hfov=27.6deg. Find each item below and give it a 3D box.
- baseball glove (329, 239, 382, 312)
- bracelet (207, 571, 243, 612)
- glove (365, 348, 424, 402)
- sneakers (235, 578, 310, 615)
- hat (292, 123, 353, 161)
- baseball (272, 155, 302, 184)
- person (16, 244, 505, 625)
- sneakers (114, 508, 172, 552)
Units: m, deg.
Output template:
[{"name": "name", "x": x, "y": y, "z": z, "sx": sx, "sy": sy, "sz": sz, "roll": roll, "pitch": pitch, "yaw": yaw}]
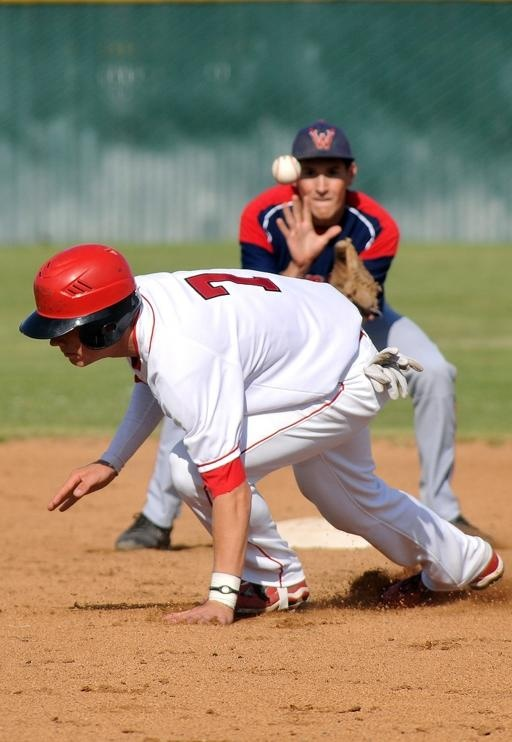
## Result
[{"name": "baseball glove", "x": 0.362, "y": -0.355, "z": 3.877, "sx": 0.115, "sy": 0.170, "sz": 0.276, "roll": -20, "pitch": 53, "yaw": -35}, {"name": "bracelet", "x": -0.088, "y": 0.585, "z": 2.807, "sx": 0.088, "sy": 0.111, "sz": 0.039, "roll": 17, "pitch": 49, "yaw": -5}, {"name": "glove", "x": 0.414, "y": 0.037, "z": 3.104, "sx": 0.170, "sy": 0.083, "sz": 0.158, "roll": 35, "pitch": 44, "yaw": -17}, {"name": "sneakers", "x": 0.044, "y": 0.678, "z": 3.211, "sx": 0.239, "sy": 0.101, "sz": 0.082, "roll": -5, "pitch": 6, "yaw": -33}, {"name": "hat", "x": 0.253, "y": -0.874, "z": 3.961, "sx": 0.224, "sy": 0.164, "sz": 0.261, "roll": -1, "pitch": 8, "yaw": -11}, {"name": "baseball", "x": 0.125, "y": -0.767, "z": 3.990, "sx": 0.125, "sy": 0.109, "sz": 0.066, "roll": 4, "pitch": -5, "yaw": 31}, {"name": "person", "x": 0.001, "y": 0.125, "z": 3.196, "sx": 1.501, "sy": 1.035, "sz": 0.879, "roll": 3, "pitch": 23, "yaw": -3}, {"name": "sneakers", "x": -0.485, "y": 0.719, "z": 4.572, "sx": 0.275, "sy": 0.145, "sz": 0.128, "roll": 2, "pitch": -3, "yaw": -2}]
